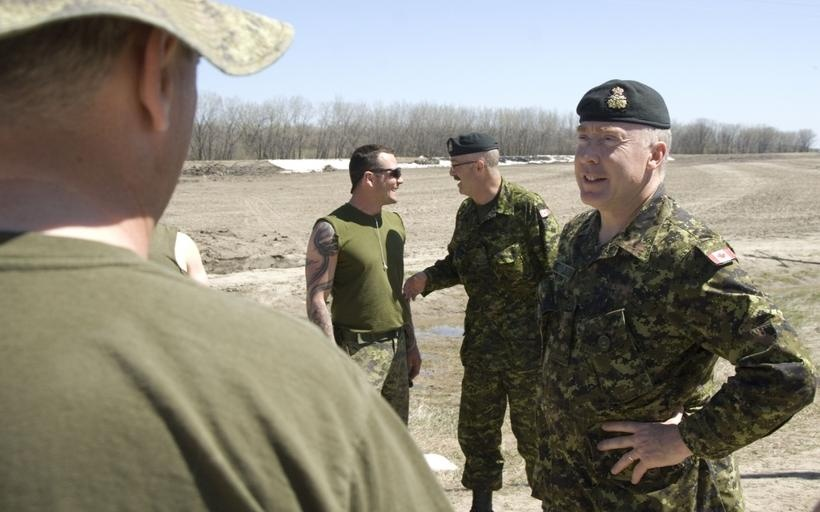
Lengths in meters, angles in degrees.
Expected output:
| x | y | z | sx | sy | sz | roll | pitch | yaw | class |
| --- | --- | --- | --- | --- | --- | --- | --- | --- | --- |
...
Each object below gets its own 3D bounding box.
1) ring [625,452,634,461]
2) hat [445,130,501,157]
| x | y | z | sx | sy | sz | roll | pitch | yaw | class |
| --- | --- | --- | --- | --- | --- | --- | --- | --- | --- |
| 0.862 | 0.783 | 2.920 | 0.008 | 0.027 | 0.037 | 4 | 6 | -41 | ring |
| 0.489 | -0.826 | 5.421 | 0.288 | 0.118 | 0.213 | -4 | 4 | -14 | hat |
